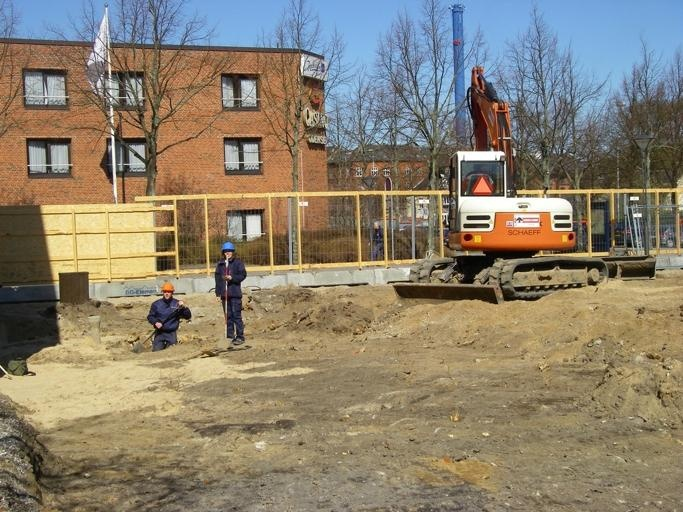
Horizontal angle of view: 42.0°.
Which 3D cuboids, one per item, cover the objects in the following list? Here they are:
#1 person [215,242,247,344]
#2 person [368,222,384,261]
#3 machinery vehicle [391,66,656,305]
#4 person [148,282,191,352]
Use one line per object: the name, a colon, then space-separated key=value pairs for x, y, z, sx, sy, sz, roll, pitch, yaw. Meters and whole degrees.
person: x=-2.270 y=0.748 z=17.944 sx=0.664 sy=2.014 sz=0.549 roll=-3 pitch=0 yaw=18
person: x=1.003 y=-0.433 z=24.607 sx=0.395 sy=1.012 sz=0.378 roll=-3 pitch=14 yaw=-1
machinery vehicle: x=3.701 y=-1.623 z=20.939 sx=5.074 sy=5.048 sz=6.453 roll=-2 pitch=1 yaw=-6
person: x=-3.461 y=1.218 z=17.794 sx=0.790 sy=1.392 sz=0.820 roll=-6 pitch=14 yaw=-12
